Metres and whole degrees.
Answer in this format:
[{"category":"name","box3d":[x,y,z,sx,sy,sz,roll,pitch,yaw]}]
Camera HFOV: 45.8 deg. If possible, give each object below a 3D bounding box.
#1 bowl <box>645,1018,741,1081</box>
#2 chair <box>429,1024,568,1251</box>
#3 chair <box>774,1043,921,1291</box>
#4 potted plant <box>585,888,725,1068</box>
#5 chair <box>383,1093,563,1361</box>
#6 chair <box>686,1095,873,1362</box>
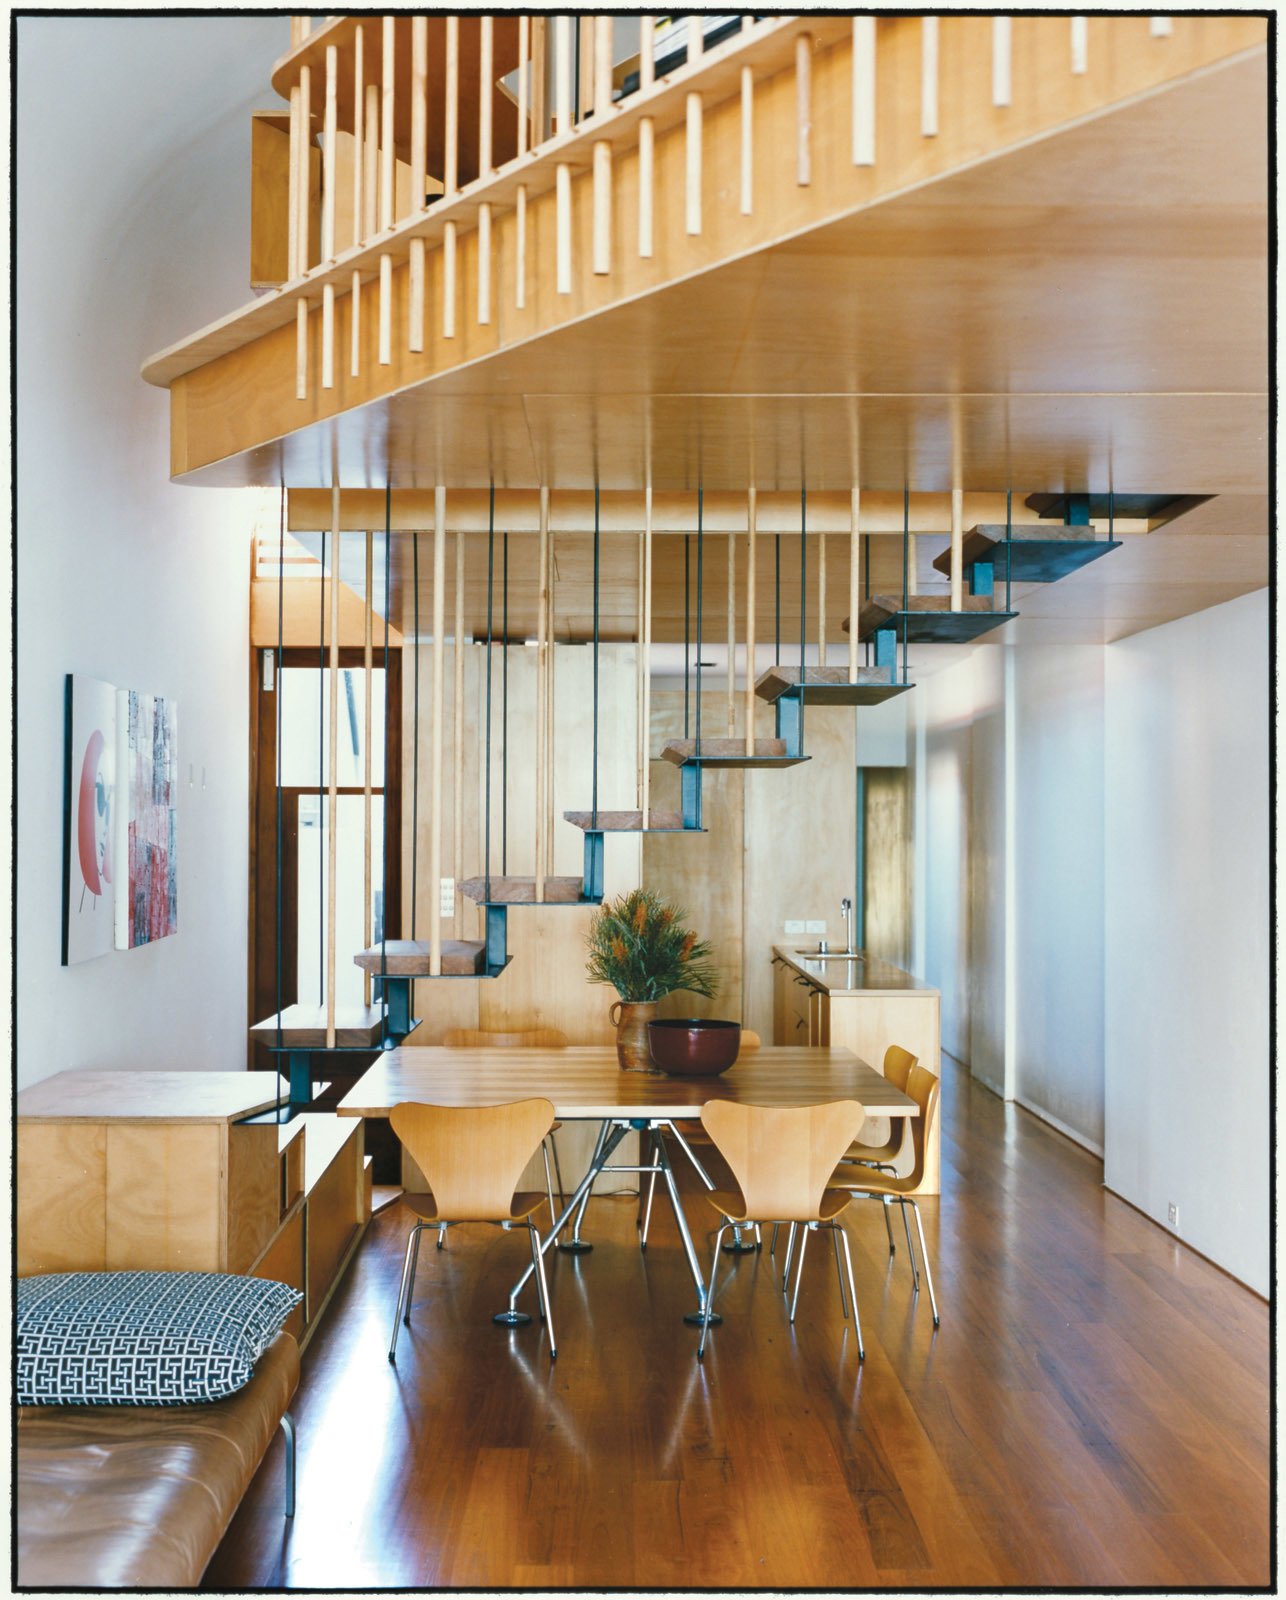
[{"category":"bowl","box3d":[0.166,0.854,5.288,0.307,0.194,0.297,0,1,0]},{"category":"chair","box3d":[-0.503,1.322,6.269,0.454,1.252,0.651,0,2,2]},{"category":"chair","box3d":[0.747,1.246,5.643,0.416,1.057,0.491,1,-6,-3]},{"category":"potted plant","box3d":[-0.006,0.641,5.695,0.284,0.687,0.356,2,-2,2]},{"category":"chair","box3d":[-0.512,1.292,4.751,0.390,0.927,0.500,-2,6,-5]},{"category":"chair","box3d":[0.431,1.284,4.752,0.390,0.984,0.515,-2,9,3]}]
